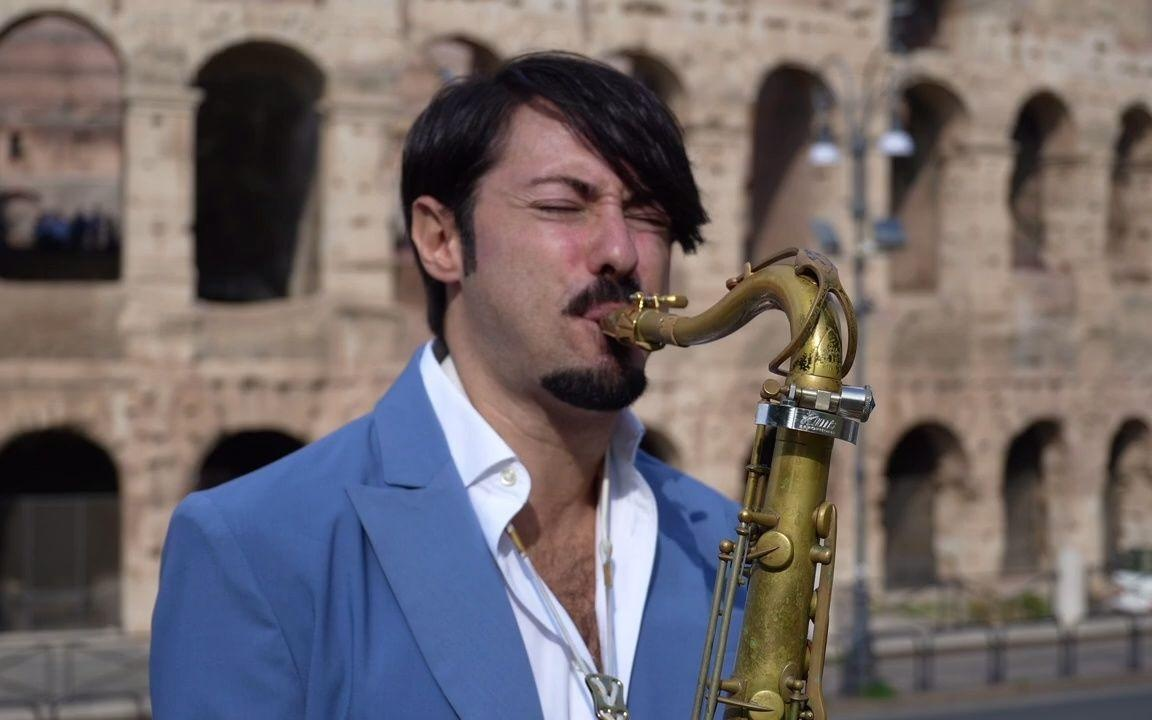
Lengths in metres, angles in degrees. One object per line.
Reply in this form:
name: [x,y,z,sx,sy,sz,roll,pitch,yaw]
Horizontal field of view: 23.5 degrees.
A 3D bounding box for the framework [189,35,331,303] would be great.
framework: [-4.770,-2.692,41.207,1.936,4.376,0.558,1,33,-10]
